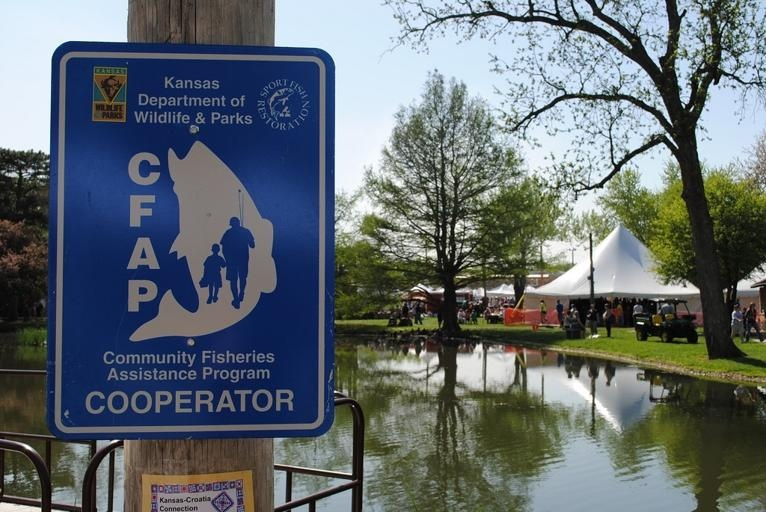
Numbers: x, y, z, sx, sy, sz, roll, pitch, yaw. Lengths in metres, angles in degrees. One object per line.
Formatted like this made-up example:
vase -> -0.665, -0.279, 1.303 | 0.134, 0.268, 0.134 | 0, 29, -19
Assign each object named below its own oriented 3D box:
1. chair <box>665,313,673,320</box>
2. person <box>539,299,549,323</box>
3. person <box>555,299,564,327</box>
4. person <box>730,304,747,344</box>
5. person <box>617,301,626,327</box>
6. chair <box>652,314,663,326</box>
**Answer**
chair -> 9.892, 2.096, 28.416 | 0.201, 0.157, 0.208 | 1, -10, -2
person -> 8.274, 2.878, 42.320 | 0.381, 1.139, 1.120 | -1, -1, 10
person -> 8.638, 2.858, 40.159 | 0.306, 1.127, 1.400 | -1, -2, 11
person -> 12.138, 2.267, 28.166 | 0.402, 1.269, 1.519 | -1, -2, 23
person -> 11.865, 2.833, 40.712 | 0.349, 1.203, 1.776 | -1, -2, 18
chair -> 9.610, 2.228, 28.609 | 0.297, 0.357, 0.585 | -1, -2, -6
